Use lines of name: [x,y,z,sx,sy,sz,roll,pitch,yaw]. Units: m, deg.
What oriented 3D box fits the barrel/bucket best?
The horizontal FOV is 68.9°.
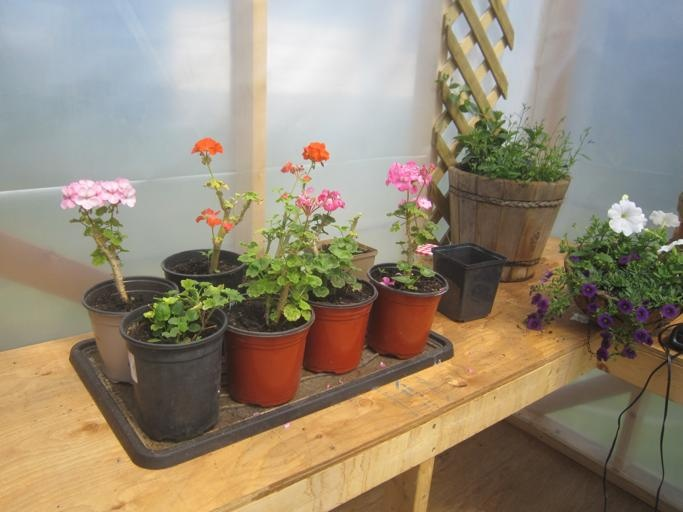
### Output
barrel/bucket: [0.654,-0.152,2.228,0.475,0.398,0.508,8,18,-3]
